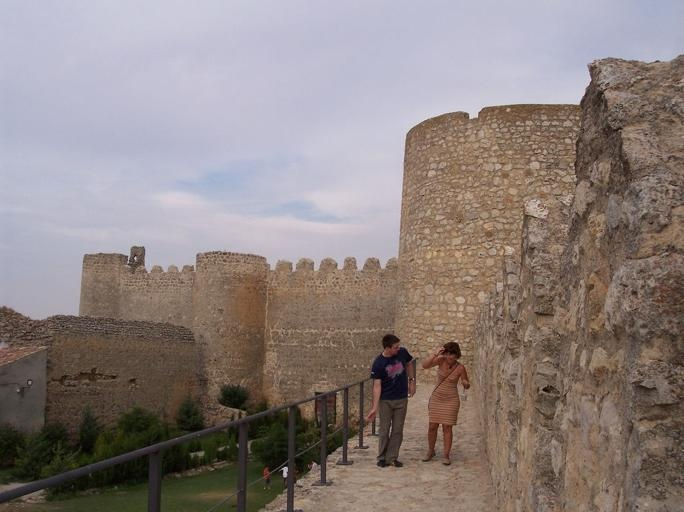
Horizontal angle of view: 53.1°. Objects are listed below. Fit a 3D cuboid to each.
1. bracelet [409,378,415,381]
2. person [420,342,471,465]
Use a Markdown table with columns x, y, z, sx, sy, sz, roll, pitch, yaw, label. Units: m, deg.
| x | y | z | sx | sy | sz | roll | pitch | yaw | label |
| --- | --- | --- | --- | --- | --- | --- | --- | --- | --- |
| 0.691 | 1.218 | 6.733 | 0.042 | 0.017 | 0.043 | 0 | -3 | -9 | bracelet |
| 1.010 | 1.419 | 6.651 | 0.497 | 0.964 | 0.738 | -5 | -4 | -25 | person |
